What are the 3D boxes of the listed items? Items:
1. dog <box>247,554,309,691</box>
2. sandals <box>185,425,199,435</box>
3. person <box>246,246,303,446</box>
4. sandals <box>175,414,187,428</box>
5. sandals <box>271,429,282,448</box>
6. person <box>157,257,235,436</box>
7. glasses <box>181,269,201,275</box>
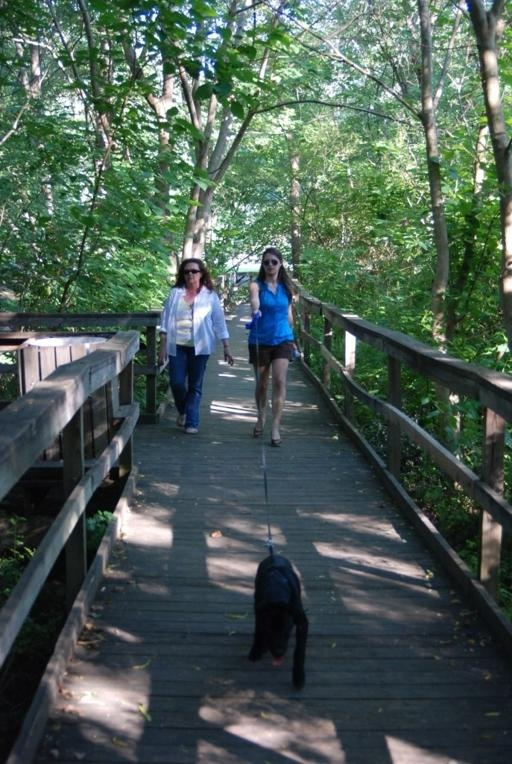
[{"bbox_3d":[0.068,0.776,2.142,0.188,0.380,0.317,2,8,5],"label":"dog"},{"bbox_3d":[-0.587,0.434,5.929,0.069,0.058,0.127,7,4,-7],"label":"sandals"},{"bbox_3d":[0.127,-0.262,5.402,0.398,1.608,0.433,3,8,17],"label":"person"},{"bbox_3d":[-0.735,0.384,6.301,0.083,0.132,0.136,3,-6,-40],"label":"sandals"},{"bbox_3d":[0.160,0.474,5.485,0.137,0.183,0.407,-1,-3,2],"label":"sandals"},{"bbox_3d":[-0.535,-0.281,5.714,0.587,1.557,0.655,0,8,-9],"label":"person"},{"bbox_3d":[-0.521,-0.912,5.494,0.151,0.046,0.127,-2,8,-24],"label":"glasses"}]
